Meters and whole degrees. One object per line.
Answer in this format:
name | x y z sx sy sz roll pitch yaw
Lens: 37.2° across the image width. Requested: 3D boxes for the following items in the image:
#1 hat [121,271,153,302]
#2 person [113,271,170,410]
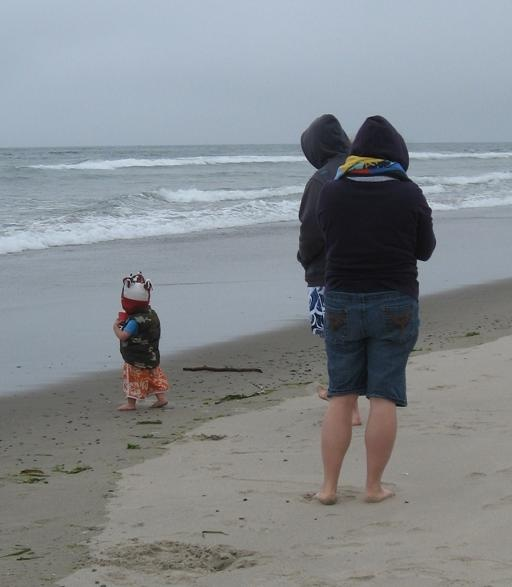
hat | -0.969 -0.057 6.171 0.243 0.251 0.269 1 18 -8
person | -0.982 0.383 6.124 0.475 0.770 0.257 -11 5 -19
